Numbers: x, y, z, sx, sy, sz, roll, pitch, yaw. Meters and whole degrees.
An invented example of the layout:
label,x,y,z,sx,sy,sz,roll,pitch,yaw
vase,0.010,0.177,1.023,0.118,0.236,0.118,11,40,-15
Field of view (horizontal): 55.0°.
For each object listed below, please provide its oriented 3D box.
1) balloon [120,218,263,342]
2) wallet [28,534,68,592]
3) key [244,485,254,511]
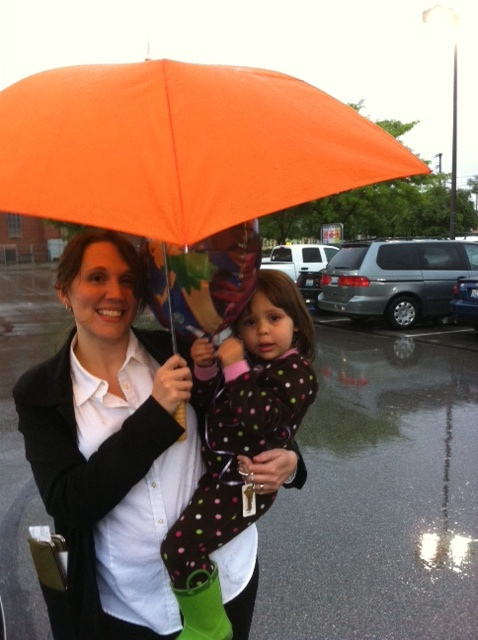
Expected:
label,x,y,z,sx,sy,sz,roll,pitch,yaw
balloon,-0.094,-0.104,1.269,0.277,0.358,0.158,2,18,2
wallet,-0.476,0.609,1.184,0.110,0.141,0.073,1,8,13
key,0.028,0.542,1.406,0.029,0.086,0.021,-2,8,-9
